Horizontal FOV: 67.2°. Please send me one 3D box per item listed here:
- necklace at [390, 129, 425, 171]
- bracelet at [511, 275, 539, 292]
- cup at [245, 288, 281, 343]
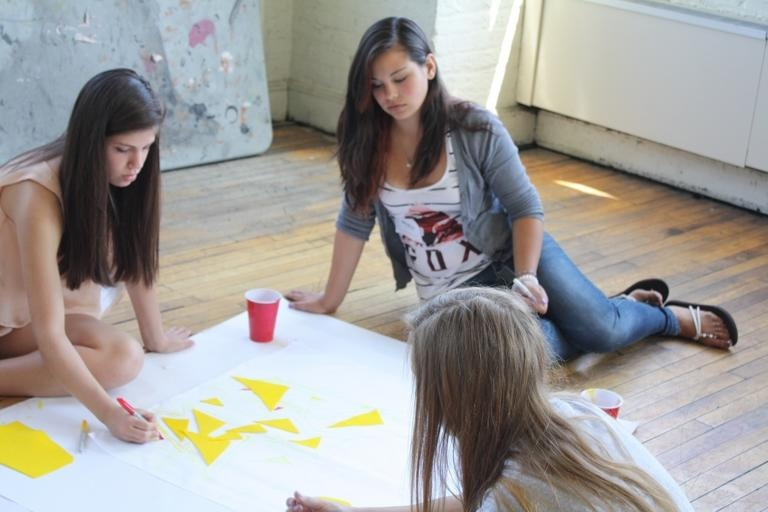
[{"bbox_3d":[0.077,-0.424,2.309,0.161,0.156,0.051,5,8,19],"label":"necklace"},{"bbox_3d":[0.510,0.091,2.079,0.073,0.026,0.070,1,11,25],"label":"bracelet"},{"bbox_3d":[-0.477,0.246,2.318,0.147,0.172,0.154,5,8,-1],"label":"cup"}]
